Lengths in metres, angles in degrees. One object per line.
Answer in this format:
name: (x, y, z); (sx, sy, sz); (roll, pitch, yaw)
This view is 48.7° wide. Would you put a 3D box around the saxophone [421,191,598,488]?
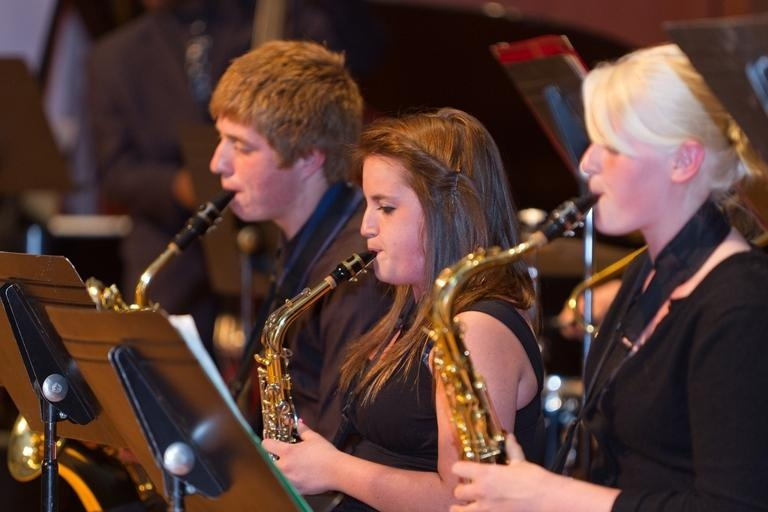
saxophone: (0.286, 0.204, 2.102); (0.316, 0.723, 0.430); (2, 11, 2)
